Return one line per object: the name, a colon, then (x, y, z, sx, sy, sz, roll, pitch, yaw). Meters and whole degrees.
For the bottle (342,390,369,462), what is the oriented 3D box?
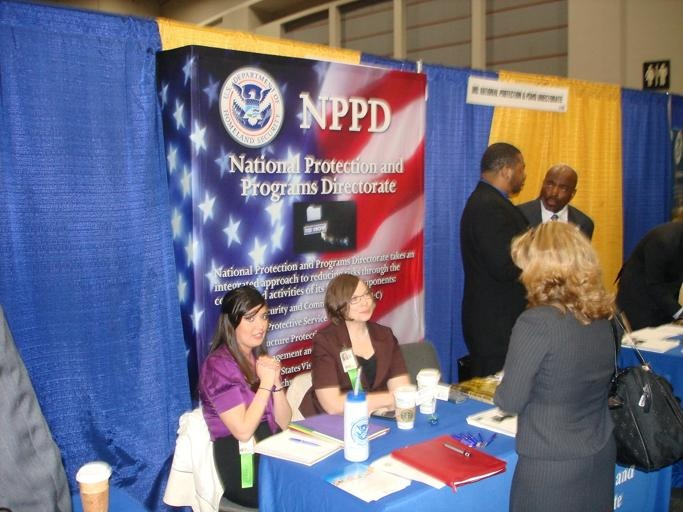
bottle: (0.063, 0.691, 2.488, 0.110, 0.299, 0.108, -2, 7, 0)

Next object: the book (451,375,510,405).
book: (0.734, 0.677, 3.144, 0.211, 0.063, 0.212, -5, 8, -38)

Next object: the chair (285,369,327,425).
chair: (-0.200, 0.744, 3.234, 0.165, 0.241, 0.188, -1, -5, -12)

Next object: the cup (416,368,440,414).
cup: (0.409, 0.647, 2.930, 0.109, 0.189, 0.119, 1, 3, 0)
